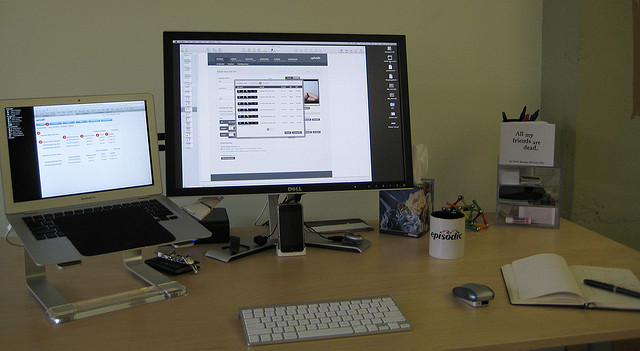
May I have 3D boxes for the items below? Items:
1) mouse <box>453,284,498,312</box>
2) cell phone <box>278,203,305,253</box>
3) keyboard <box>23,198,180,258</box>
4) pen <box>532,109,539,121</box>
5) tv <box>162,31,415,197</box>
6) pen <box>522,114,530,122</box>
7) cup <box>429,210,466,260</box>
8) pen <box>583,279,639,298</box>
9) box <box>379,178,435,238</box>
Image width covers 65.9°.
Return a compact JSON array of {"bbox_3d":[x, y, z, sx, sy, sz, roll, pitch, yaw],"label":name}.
[{"bbox_3d":[0.603,0.453,1.867,0.179,0.076,0.078,-5,13,-12],"label":"mouse"},{"bbox_3d":[-0.116,0.231,2.153,0.140,0.227,0.025,-8,-10,35],"label":"cell phone"},{"bbox_3d":[-0.861,0.213,1.988,0.575,0.148,0.212,-7,13,-20],"label":"keyboard"},{"bbox_3d":[1.030,-0.288,2.373,0.020,0.055,0.025,25,14,36],"label":"pen"},{"bbox_3d":[-0.165,-0.268,2.131,0.830,0.482,0.030,-2,0,-6],"label":"tv"},{"bbox_3d":[0.991,-0.277,2.375,0.047,0.034,0.029,-2,11,-13],"label":"pen"},{"bbox_3d":[0.549,0.257,2.181,0.190,0.186,0.191,0,5,0],"label":"cup"},{"bbox_3d":[1.106,0.436,1.880,0.182,0.017,0.020,11,36,30],"label":"pen"},{"bbox_3d":[0.409,0.158,2.357,0.229,0.201,0.165,1,5,33],"label":"box"}]
